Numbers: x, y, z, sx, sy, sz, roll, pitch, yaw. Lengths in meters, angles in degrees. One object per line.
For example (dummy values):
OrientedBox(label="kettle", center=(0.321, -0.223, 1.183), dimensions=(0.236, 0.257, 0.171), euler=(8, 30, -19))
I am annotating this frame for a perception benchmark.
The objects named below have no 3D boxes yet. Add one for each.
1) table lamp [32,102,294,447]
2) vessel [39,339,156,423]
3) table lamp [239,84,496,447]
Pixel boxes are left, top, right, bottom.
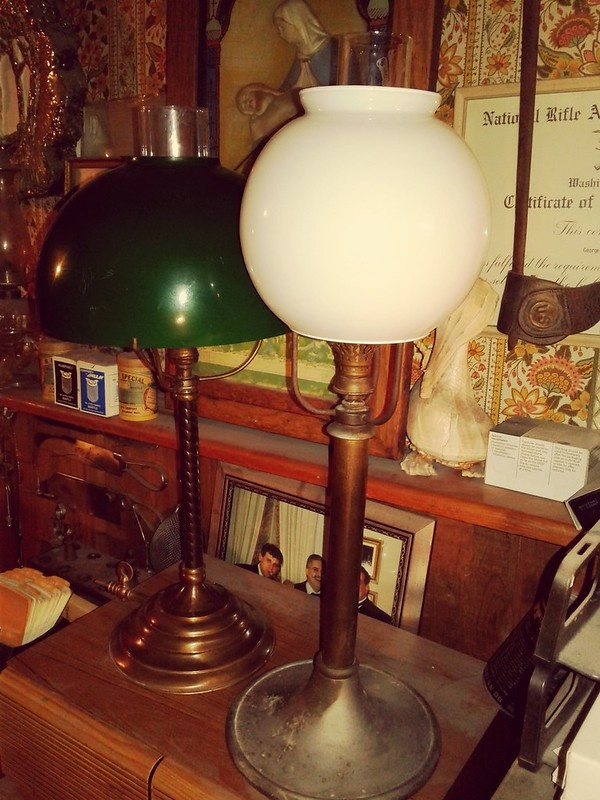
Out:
OrientedBox(label="table lamp", center=(-0.147, -0.159, 0.686), dimensions=(0.230, 0.157, 0.225), euler=(-4, 11, -28))
OrientedBox(label="vessel", center=(-0.386, -0.030, 1.263), dimensions=(0.174, 0.065, 0.052), euler=(15, 24, 30))
OrientedBox(label="table lamp", center=(0.062, -0.133, 0.551), dimensions=(0.198, 0.173, 0.196), euler=(6, 13, 20))
